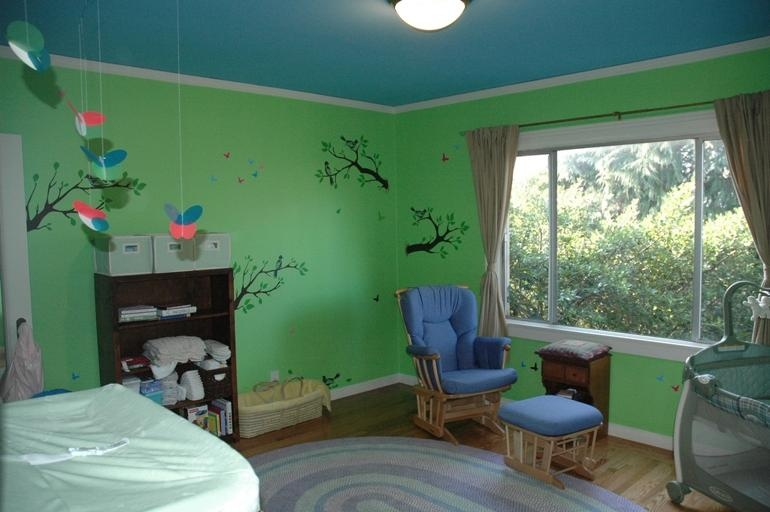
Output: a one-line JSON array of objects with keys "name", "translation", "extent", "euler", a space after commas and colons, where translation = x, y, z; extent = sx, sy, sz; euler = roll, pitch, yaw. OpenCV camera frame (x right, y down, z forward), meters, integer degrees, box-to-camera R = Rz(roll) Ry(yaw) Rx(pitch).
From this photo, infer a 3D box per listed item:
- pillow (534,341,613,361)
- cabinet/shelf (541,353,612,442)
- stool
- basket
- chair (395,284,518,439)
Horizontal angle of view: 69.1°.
[{"name": "pillow", "translation": [1.754, 0.885, 5.243], "extent": [0.643, 0.130, 0.383], "euler": [4, 12, 20]}, {"name": "cabinet/shelf", "translation": [1.800, 1.342, 5.336], "extent": [0.462, 0.815, 0.490], "euler": [-7, 8, -38]}, {"name": "stool", "translation": [1.282, 1.566, 4.742], "extent": [0.574, 0.480, 0.556], "euler": [5, -3, 45]}, {"name": "basket", "translation": [-1.054, 1.516, 5.611], "extent": [0.717, 0.248, 0.434], "euler": [-1, 0, -44]}, {"name": "chair", "translation": [0.718, 1.048, 5.567], "extent": [1.056, 1.336, 1.080], "euler": [-1, 4, -18]}]
